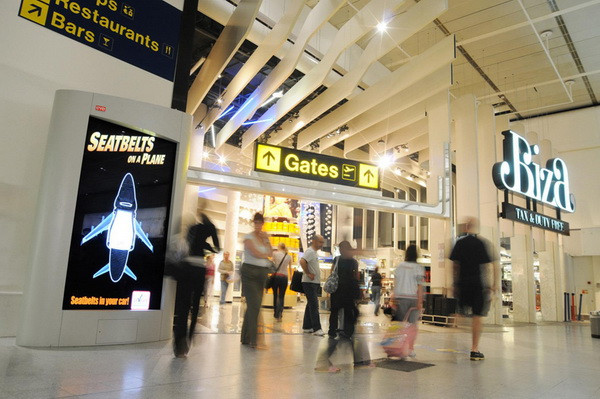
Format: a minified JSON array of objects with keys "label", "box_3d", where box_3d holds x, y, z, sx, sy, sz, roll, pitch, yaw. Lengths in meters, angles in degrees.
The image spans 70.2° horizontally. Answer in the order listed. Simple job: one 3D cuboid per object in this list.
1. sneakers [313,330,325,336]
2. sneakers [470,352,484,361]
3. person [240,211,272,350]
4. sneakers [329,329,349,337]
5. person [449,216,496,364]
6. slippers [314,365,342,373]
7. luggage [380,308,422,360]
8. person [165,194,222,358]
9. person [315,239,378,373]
[{"label":"sneakers","box_3d":[0.368,2.594,8.285,0.203,0.085,0.139,-1,-5,30]},{"label":"sneakers","box_3d":[2.817,2.458,6.737,0.282,0.134,0.125,5,-11,-10]},{"label":"person","box_3d":[-0.775,1.338,7.153,0.467,2.087,1.587,5,-12,-6]},{"label":"sneakers","box_3d":[0.538,1.859,5.931,0.278,0.111,0.192,2,-11,5]},{"label":"person","box_3d":[2.760,1.396,6.801,0.665,2.239,0.274,0,-13,15]},{"label":"slippers","box_3d":[0.369,2.281,5.741,0.239,0.070,0.129,-2,-26,6]},{"label":"luggage","box_3d":[1.699,2.054,6.974,0.518,0.753,0.854,-4,-5,43]},{"label":"person","box_3d":[-1.512,1.158,5.954,0.681,2.046,0.577,5,-12,-11]},{"label":"person","box_3d":[0.665,1.485,6.086,0.864,1.767,0.344,12,-15,-37]}]
